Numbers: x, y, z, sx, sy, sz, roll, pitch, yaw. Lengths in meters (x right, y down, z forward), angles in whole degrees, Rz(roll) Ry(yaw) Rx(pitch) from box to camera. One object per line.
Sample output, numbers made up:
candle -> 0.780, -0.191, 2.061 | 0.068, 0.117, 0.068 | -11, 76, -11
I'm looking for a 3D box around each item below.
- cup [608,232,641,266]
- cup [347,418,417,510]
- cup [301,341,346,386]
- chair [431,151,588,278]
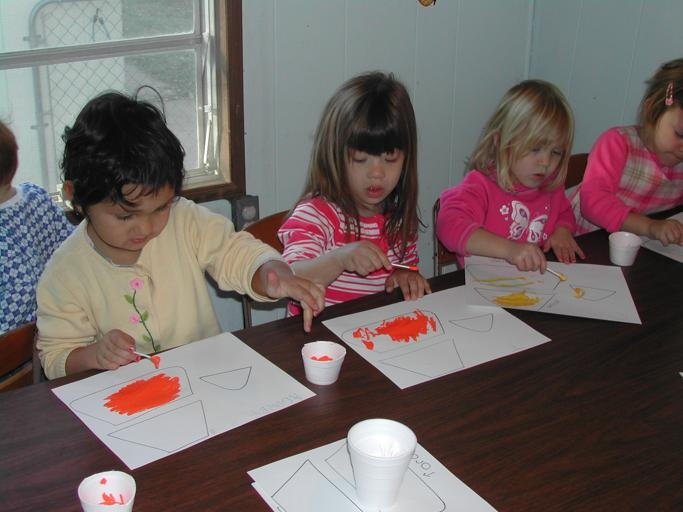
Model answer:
cup -> 0.851, -0.028, 1.654 | 0.086, 0.076, 0.096 | 5, 18, 4
cup -> 0.062, 0.324, 0.861 | 0.114, 0.137, 0.125 | -4, 22, -9
cup -> -0.039, 0.212, 1.093 | 0.073, 0.059, 0.084 | 1, 9, 2
chair -> 0.587, -0.135, 1.836 | 0.337, 0.424, 0.237 | -13, 37, -12
